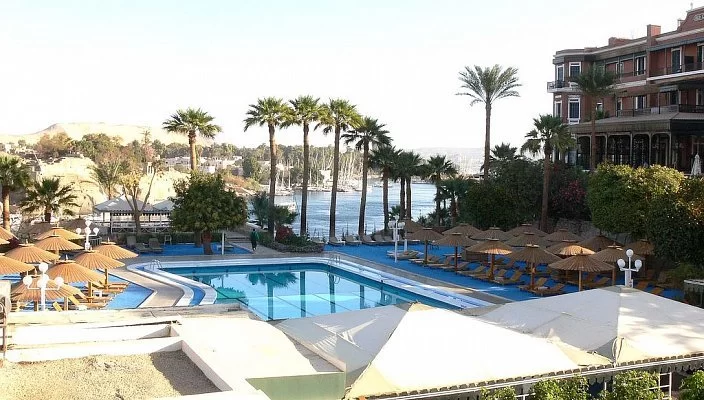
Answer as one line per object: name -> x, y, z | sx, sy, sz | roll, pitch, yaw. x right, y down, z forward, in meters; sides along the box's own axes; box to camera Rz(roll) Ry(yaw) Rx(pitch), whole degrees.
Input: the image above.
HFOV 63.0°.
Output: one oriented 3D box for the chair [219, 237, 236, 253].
chair -> -9.382, 3.414, 43.350 | 0.953, 1.105, 1.723 | 0, -1, -16
